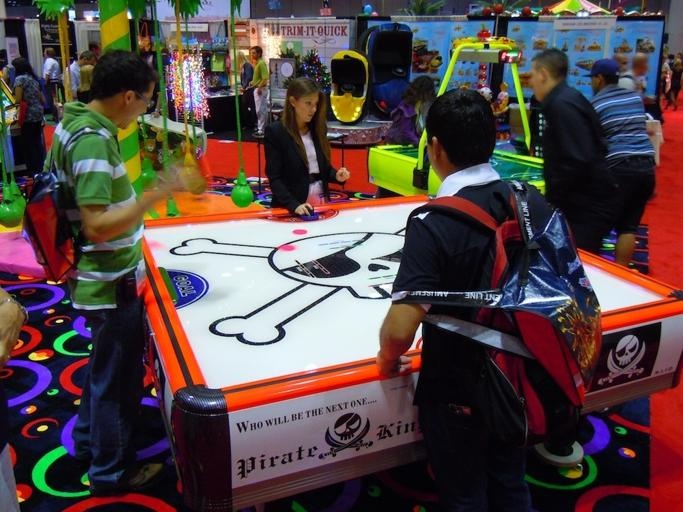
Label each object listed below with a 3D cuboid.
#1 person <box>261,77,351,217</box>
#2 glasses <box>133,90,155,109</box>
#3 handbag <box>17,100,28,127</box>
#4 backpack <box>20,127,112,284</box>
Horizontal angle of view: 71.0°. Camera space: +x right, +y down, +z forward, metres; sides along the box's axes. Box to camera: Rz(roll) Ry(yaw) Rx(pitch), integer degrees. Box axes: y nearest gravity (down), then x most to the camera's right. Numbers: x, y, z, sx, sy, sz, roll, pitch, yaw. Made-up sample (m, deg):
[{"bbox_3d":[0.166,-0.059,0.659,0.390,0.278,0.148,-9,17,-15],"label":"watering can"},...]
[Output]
[{"bbox_3d":[-0.319,-0.757,3.355,0.475,0.916,0.744,2,21,6],"label":"person"},{"bbox_3d":[-0.802,-0.616,1.930,0.023,0.081,0.076,-15,8,17],"label":"glasses"},{"bbox_3d":[-4.181,-1.873,6.262,0.086,0.312,0.323,4,-3,-35],"label":"handbag"},{"bbox_3d":[-1.155,-0.125,1.901,0.181,0.492,0.207,-18,27,-39],"label":"backpack"}]
